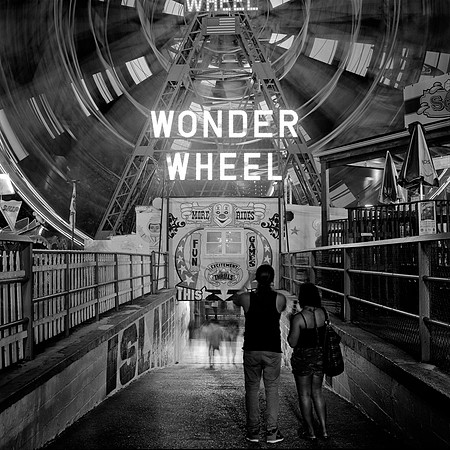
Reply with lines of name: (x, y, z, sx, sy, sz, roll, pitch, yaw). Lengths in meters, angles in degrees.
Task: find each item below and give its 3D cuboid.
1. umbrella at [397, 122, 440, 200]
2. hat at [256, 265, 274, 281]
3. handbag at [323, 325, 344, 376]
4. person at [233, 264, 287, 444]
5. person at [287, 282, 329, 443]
umbrella: (5.492, -1.807, 10.987, 1.007, 2.232, 1.131, -1, -7, 26)
hat: (0.406, 0.476, 3.910, 0.121, 0.196, 0.176, 1, 7, 3)
handbag: (1.067, 1.243, 3.795, 0.184, 0.505, 0.205, 0, -7, 16)
person: (0.334, 1.207, 3.746, 0.477, 1.639, 0.371, 1, -6, 10)
person: (0.827, 1.305, 3.809, 0.381, 1.438, 0.310, 0, -7, 16)
